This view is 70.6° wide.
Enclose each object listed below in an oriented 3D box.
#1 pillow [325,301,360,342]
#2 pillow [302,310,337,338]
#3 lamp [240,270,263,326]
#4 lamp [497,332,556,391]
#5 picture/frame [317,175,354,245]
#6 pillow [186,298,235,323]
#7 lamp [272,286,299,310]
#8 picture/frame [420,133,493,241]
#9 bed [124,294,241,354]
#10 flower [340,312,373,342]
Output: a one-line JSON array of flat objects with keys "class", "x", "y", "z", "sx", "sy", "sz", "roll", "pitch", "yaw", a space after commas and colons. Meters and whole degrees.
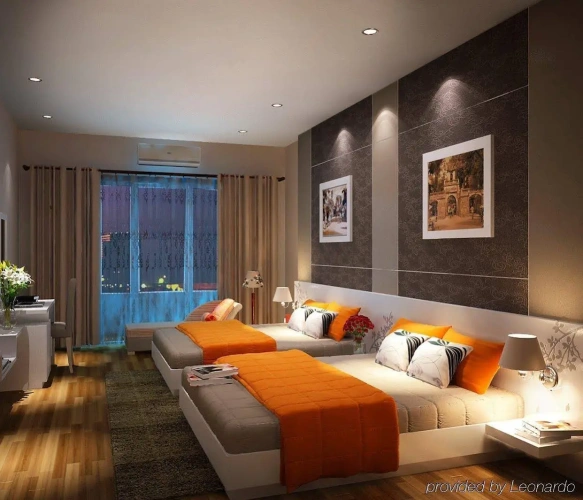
[{"class": "pillow", "x": 0.561, "y": 0.830, "z": 4.766, "sx": 0.113, "sy": 0.347, "sz": 0.354, "roll": 32, "pitch": -20, "yaw": -12}, {"class": "pillow", "x": 0.303, "y": 0.850, "z": 4.848, "sx": 0.119, "sy": 0.308, "sz": 0.293, "roll": 39, "pitch": -28, "yaw": -31}, {"class": "lamp", "x": -0.633, "y": 0.894, "z": 6.908, "sx": 0.309, "sy": 1.089, "sz": 0.321, "roll": 3, "pitch": 7, "yaw": 17}, {"class": "lamp", "x": 1.520, "y": 0.719, "z": 2.802, "sx": 0.376, "sy": 0.435, "sz": 0.325, "roll": 3, "pitch": -5, "yaw": -15}, {"class": "picture/frame", "x": 0.599, "y": -0.541, "z": 5.476, "sx": 0.060, "sy": 0.973, "sz": 0.921, "roll": 1, "pitch": -2, "yaw": -22}, {"class": "pillow", "x": -1.181, "y": 0.902, "z": 6.155, "sx": 0.543, "sy": 0.233, "sz": 0.417, "roll": -3, "pitch": 1, "yaw": 0}, {"class": "lamp", "x": -0.093, "y": 0.717, "z": 6.252, "sx": 0.314, "sy": 0.403, "sz": 0.400, "roll": -1, "pitch": -7, "yaw": 2}, {"class": "picture/frame", "x": 1.437, "y": -0.551, "z": 3.553, "sx": 0.112, "sy": 0.980, "sz": 0.992, "roll": 1, "pitch": 0, "yaw": -19}, {"class": "bed", "x": -1.780, "y": 1.247, "z": 6.711, "sx": 1.785, "sy": 0.907, "sz": 1.190, "roll": 6, "pitch": -8, "yaw": -31}, {"class": "flower", "x": 0.750, "y": 0.852, "z": 4.634, "sx": 0.289, "sy": 0.313, "sz": 0.285, "roll": 0, "pitch": -3, "yaw": 6}]
